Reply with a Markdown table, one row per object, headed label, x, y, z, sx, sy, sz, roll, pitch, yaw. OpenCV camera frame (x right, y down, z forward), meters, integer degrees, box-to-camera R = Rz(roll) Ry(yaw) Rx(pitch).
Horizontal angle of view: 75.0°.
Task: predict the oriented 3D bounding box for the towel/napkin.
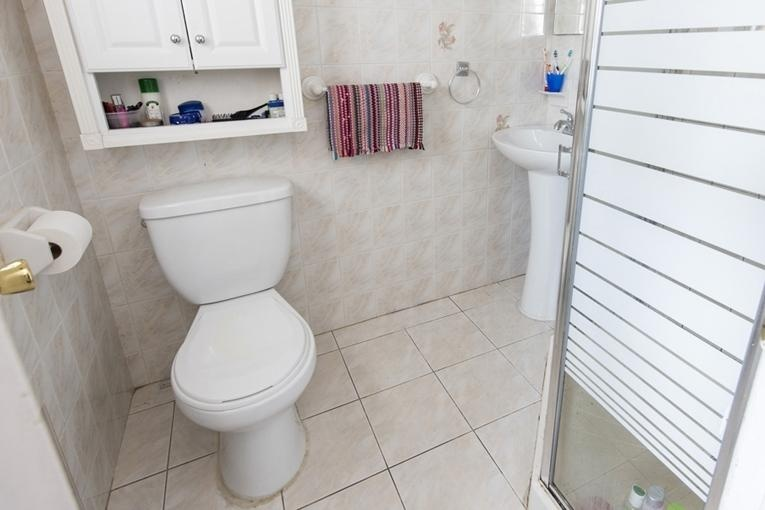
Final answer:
| label | x | y | z | sx | sy | sz | roll | pitch | yaw |
| --- | --- | --- | --- | --- | --- | --- | --- | --- | --- |
| towel/napkin | -0.038 | -0.588 | 2.161 | 0.330 | 0.222 | 0.034 | -11 | 31 | -19 |

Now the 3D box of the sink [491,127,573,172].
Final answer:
| label | x | y | z | sx | sy | sz | roll | pitch | yaw |
| --- | --- | --- | --- | --- | --- | --- | --- | --- | --- |
| sink | 0.696 | -0.494 | 2.285 | 0.312 | 0.121 | 0.402 | -12 | 30 | -20 |

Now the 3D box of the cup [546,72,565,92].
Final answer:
| label | x | y | z | sx | sy | sz | roll | pitch | yaw |
| --- | --- | --- | --- | --- | --- | --- | --- | --- | --- |
| cup | 0.847 | -0.846 | 2.457 | 0.088 | 0.087 | 0.073 | 8 | 33 | 21 |

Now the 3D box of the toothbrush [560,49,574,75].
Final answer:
| label | x | y | z | sx | sy | sz | roll | pitch | yaw |
| --- | --- | --- | --- | --- | --- | --- | --- | --- | --- |
| toothbrush | 0.894 | -0.940 | 2.429 | 0.017 | 0.106 | 0.033 | -29 | 42 | -34 |

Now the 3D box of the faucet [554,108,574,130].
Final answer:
| label | x | y | z | sx | sy | sz | roll | pitch | yaw |
| --- | --- | --- | --- | --- | --- | --- | --- | --- | --- |
| faucet | 0.886 | -0.673 | 2.413 | 0.074 | 0.109 | 0.235 | 8 | 33 | 20 |

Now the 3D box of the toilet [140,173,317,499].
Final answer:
| label | x | y | z | sx | sy | sz | roll | pitch | yaw |
| --- | --- | --- | --- | --- | --- | --- | --- | --- | --- |
| toilet | -0.539 | 0.340 | 1.914 | 0.550 | 1.007 | 0.830 | -8 | 28 | -18 |
